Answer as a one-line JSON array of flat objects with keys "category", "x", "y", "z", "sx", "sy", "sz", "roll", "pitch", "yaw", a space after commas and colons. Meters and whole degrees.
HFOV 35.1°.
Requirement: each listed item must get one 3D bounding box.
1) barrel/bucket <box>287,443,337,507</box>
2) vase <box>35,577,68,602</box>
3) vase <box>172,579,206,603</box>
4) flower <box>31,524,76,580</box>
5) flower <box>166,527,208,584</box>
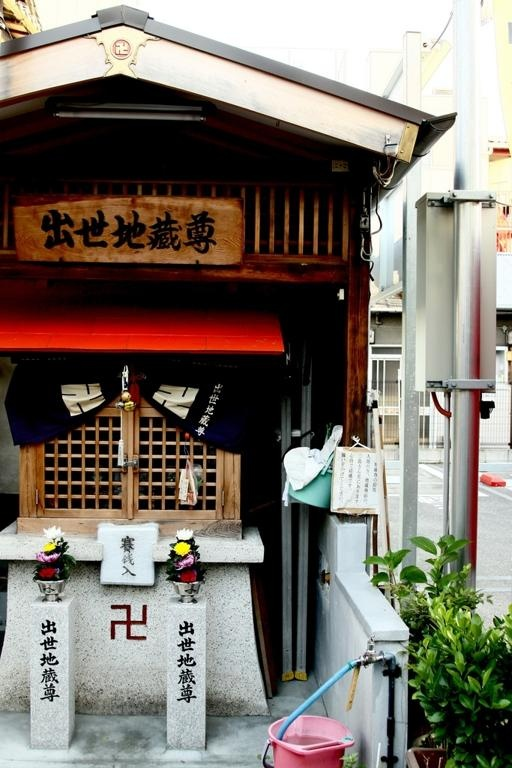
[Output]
[{"category": "barrel/bucket", "x": 0.433, "y": 0.697, "z": 6.303, "sx": 0.345, "sy": 0.338, "sz": 0.437, "roll": 17, "pitch": 3, "yaw": 7}, {"category": "vase", "x": -1.451, "y": 1.436, "z": 5.749, "sx": 0.187, "sy": 0.146, "sz": 0.195, "roll": 0, "pitch": -1, "yaw": -1}, {"category": "vase", "x": -0.488, "y": 1.434, "z": 5.785, "sx": 0.193, "sy": 0.143, "sz": 0.186, "roll": 0, "pitch": -1, "yaw": -27}, {"category": "flower", "x": -1.406, "y": 1.210, "z": 5.763, "sx": 0.278, "sy": 0.361, "sz": 0.281, "roll": -1, "pitch": 4, "yaw": 9}, {"category": "flower", "x": -0.511, "y": 1.266, "z": 5.836, "sx": 0.267, "sy": 0.370, "sz": 0.362, "roll": -3, "pitch": 32, "yaw": 7}]
